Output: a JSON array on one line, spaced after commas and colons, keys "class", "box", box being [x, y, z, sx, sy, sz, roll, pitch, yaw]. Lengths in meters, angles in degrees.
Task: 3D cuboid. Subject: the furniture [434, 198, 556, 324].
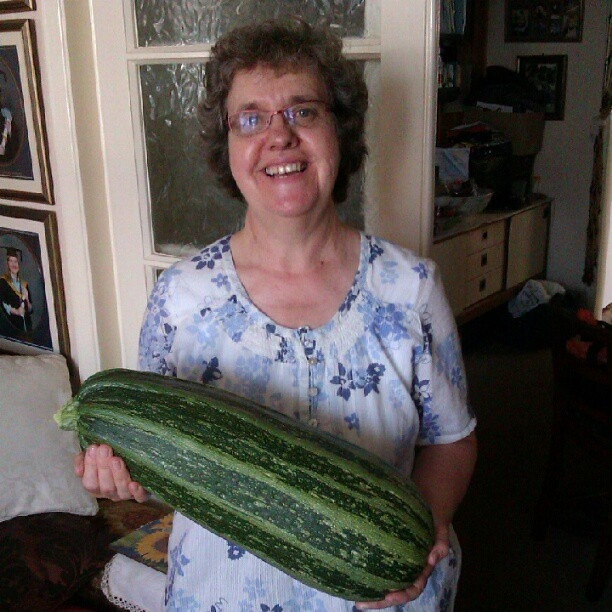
[{"class": "furniture", "box": [0.520, -0.171, 1.844, 0.342, 0.286, 0.213, -17, 35, -2]}]
